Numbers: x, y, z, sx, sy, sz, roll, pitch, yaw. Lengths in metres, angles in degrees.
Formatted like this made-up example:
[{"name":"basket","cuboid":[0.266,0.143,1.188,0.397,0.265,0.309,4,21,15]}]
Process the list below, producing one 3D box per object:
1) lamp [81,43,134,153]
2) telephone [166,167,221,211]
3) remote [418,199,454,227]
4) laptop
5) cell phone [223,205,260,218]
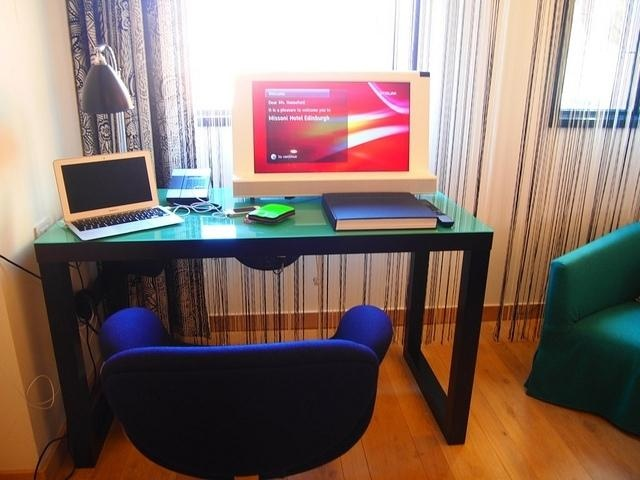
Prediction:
[{"name":"lamp","cuboid":[-0.858,-0.548,1.919,0.178,0.442,0.414,-8,22,-20]},{"name":"telephone","cuboid":[-0.544,-0.211,2.058,0.189,0.196,0.182,-1,7,0]},{"name":"remote","cuboid":[0.463,-0.112,1.853,0.067,0.022,0.127,4,28,-15]},{"name":"laptop","cuboid":[-0.810,-0.185,1.820,0.426,0.301,0.365,-12,25,-32]},{"name":"cell phone","cuboid":[-0.329,-0.118,1.923,0.094,0.014,0.056,-7,24,-24]}]
